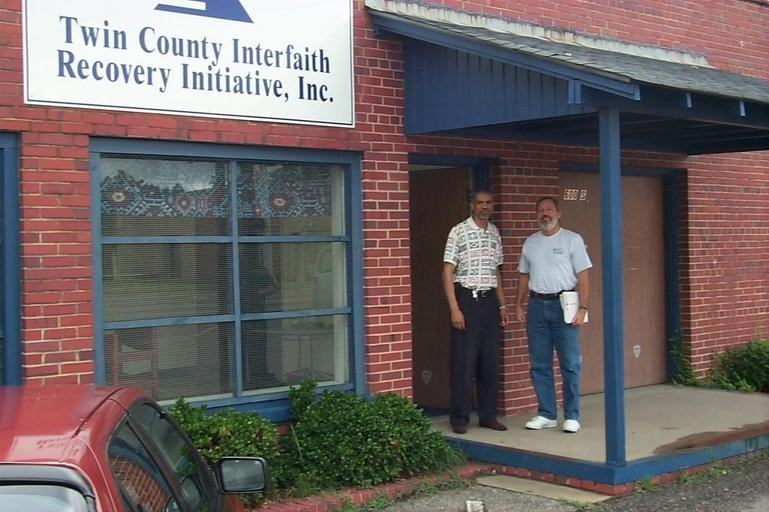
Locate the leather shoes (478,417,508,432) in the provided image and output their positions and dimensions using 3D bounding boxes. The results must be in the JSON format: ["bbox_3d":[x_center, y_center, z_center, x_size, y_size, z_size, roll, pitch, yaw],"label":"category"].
[{"bbox_3d":[1.221,1.903,8.610,0.311,0.105,0.117,-3,-1,38],"label":"leather shoes"}]

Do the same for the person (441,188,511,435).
[{"bbox_3d":[0.992,0.619,8.488,0.670,2.643,0.389,-2,3,-3],"label":"person"}]

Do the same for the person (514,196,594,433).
[{"bbox_3d":[1.826,0.648,8.335,0.812,2.538,0.376,1,5,45],"label":"person"}]

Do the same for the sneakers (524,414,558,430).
[{"bbox_3d":[1.746,1.858,8.546,0.353,0.128,0.143,3,-2,-27],"label":"sneakers"}]

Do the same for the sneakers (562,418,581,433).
[{"bbox_3d":[2.018,1.835,8.261,0.131,0.123,0.331,-2,-7,20],"label":"sneakers"}]

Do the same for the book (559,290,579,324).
[{"bbox_3d":[1.950,0.553,8.024,0.252,0.293,0.093,2,0,-33],"label":"book"}]

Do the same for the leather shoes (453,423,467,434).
[{"bbox_3d":[0.837,1.911,8.428,0.086,0.143,0.155,3,-11,-11],"label":"leather shoes"}]
